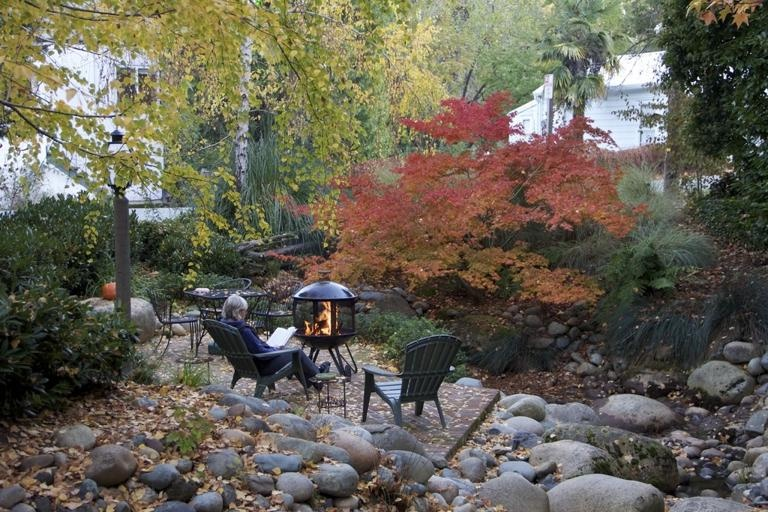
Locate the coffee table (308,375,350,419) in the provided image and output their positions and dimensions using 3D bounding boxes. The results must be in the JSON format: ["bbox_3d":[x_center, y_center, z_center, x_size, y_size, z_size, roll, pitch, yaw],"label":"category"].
[{"bbox_3d":[-0.693,1.803,8.830,0.536,0.618,0.507,0,-1,-15],"label":"coffee table"}]

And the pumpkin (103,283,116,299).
[{"bbox_3d":[-4.636,0.591,11.336,0.237,0.239,0.240,5,13,18],"label":"pumpkin"}]

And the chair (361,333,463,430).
[{"bbox_3d":[0.244,1.525,8.532,1.000,1.092,1.219,1,-3,-24],"label":"chair"}]

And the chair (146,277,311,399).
[{"bbox_3d":[-1.659,1.132,8.599,1.346,1.190,0.658,3,8,14],"label":"chair"}]

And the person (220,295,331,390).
[{"bbox_3d":[-1.532,1.006,9.217,1.285,1.752,1.037,-9,12,-24],"label":"person"}]
